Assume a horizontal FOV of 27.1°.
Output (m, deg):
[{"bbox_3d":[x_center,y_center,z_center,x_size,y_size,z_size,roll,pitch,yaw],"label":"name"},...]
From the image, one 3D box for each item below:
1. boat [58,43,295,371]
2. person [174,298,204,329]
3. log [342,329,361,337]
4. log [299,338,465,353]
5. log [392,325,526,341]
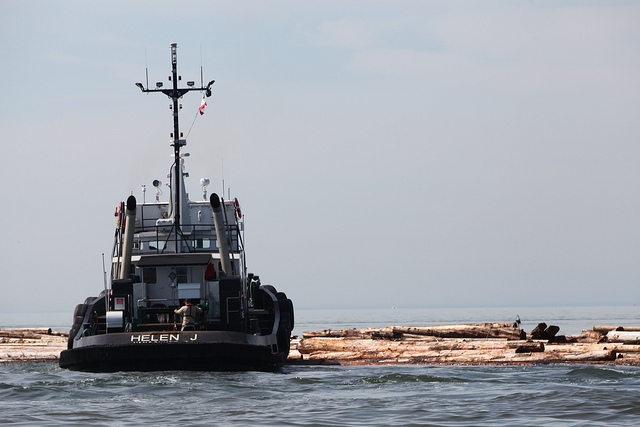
[{"bbox_3d":[-8.178,2.421,66.507,9.389,11.827,18.633,0,-1,2],"label":"boat"},{"bbox_3d":[-5.685,4.305,58.680,1.322,2.063,0.711,-1,7,-23],"label":"person"},{"bbox_3d":[1.833,6.638,76.050,0.794,0.393,1.247,0,-4,3],"label":"log"},{"bbox_3d":[3.224,6.445,66.282,5.930,0.590,0.626,1,-1,8],"label":"log"},{"bbox_3d":[7.388,5.954,68.626,1.296,0.665,9.148,0,-2,-36],"label":"log"}]
